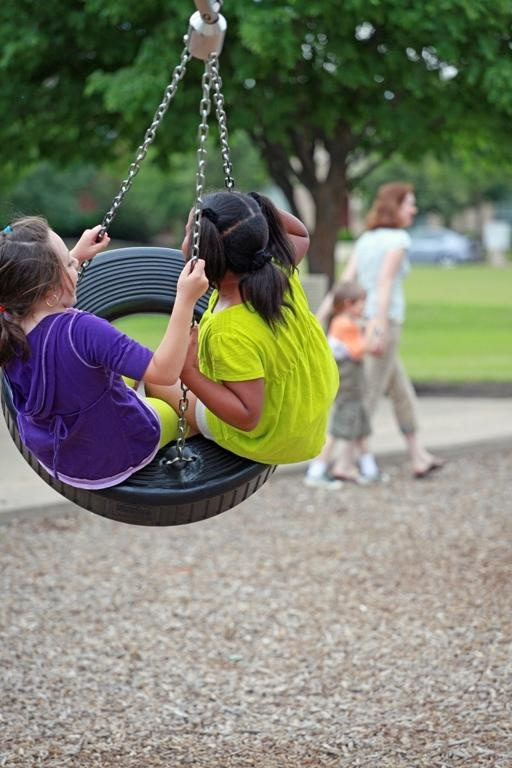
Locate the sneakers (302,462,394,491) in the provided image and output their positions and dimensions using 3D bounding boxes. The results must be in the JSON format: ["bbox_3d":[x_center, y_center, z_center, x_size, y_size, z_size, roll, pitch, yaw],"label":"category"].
[{"bbox_3d":[0.445,0.461,4.957,0.258,0.117,0.387,8,-6,-38],"label":"sneakers"}]
